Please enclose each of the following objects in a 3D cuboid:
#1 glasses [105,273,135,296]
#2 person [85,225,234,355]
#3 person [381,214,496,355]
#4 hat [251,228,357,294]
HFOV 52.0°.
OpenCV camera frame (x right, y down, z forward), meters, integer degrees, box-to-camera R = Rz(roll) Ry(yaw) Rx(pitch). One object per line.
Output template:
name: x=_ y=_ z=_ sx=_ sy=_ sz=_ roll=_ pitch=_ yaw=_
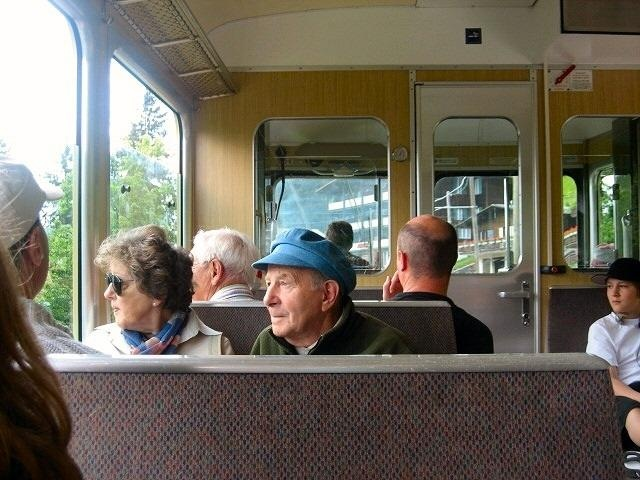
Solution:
glasses: x=-0.894 y=0.185 z=2.937 sx=0.094 sy=0.046 sz=0.098 roll=13 pitch=-3 yaw=40
person: x=-0.796 y=0.281 z=3.103 sx=0.685 sy=0.772 sz=0.448 roll=1 pitch=3 yaw=40
person: x=0.548 y=0.271 z=3.406 sx=0.726 sy=0.766 sz=0.383 roll=0 pitch=11 yaw=-10
hat: x=-0.057 y=0.091 z=2.791 sx=0.492 sy=0.212 sz=0.358 roll=19 pitch=-13 yaw=-28
